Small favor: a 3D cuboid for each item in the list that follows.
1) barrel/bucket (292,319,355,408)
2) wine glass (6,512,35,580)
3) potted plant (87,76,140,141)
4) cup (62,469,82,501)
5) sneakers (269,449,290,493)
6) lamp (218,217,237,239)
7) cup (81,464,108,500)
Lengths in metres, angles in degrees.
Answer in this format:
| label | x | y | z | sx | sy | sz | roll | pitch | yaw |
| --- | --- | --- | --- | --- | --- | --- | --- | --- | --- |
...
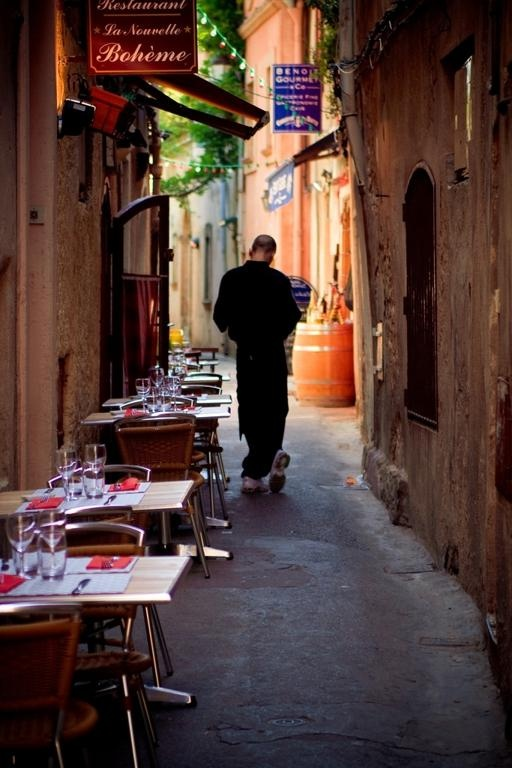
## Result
| label | x | y | z | sx | sy | sz | roll | pitch | yaw |
| --- | --- | --- | --- | --- | --- | --- | --- | --- | --- |
| barrel/bucket | 1.110 | -0.311 | 14.126 | 1.016 | 1.402 | 1.127 | -1 | 3 | -7 |
| wine glass | -0.611 | 0.414 | 2.221 | 0.106 | 0.158 | 0.067 | 1 | 1 | 38 |
| potted plant | -1.197 | -2.263 | 7.174 | 0.360 | 0.323 | 0.602 | 0 | 1 | -12 |
| cup | -0.717 | 0.397 | 3.372 | 0.082 | 0.164 | 0.085 | 0 | -8 | 0 |
| sneakers | 0.235 | 0.819 | 8.056 | 0.137 | 0.484 | 0.186 | 1 | 10 | -23 |
| lamp | -0.983 | -5.385 | 29.667 | 0.251 | 0.644 | 0.963 | 1 | 2 | -7 |
| cup | -0.640 | 0.383 | 3.399 | 0.095 | 0.190 | 0.103 | -2 | 1 | 0 |
